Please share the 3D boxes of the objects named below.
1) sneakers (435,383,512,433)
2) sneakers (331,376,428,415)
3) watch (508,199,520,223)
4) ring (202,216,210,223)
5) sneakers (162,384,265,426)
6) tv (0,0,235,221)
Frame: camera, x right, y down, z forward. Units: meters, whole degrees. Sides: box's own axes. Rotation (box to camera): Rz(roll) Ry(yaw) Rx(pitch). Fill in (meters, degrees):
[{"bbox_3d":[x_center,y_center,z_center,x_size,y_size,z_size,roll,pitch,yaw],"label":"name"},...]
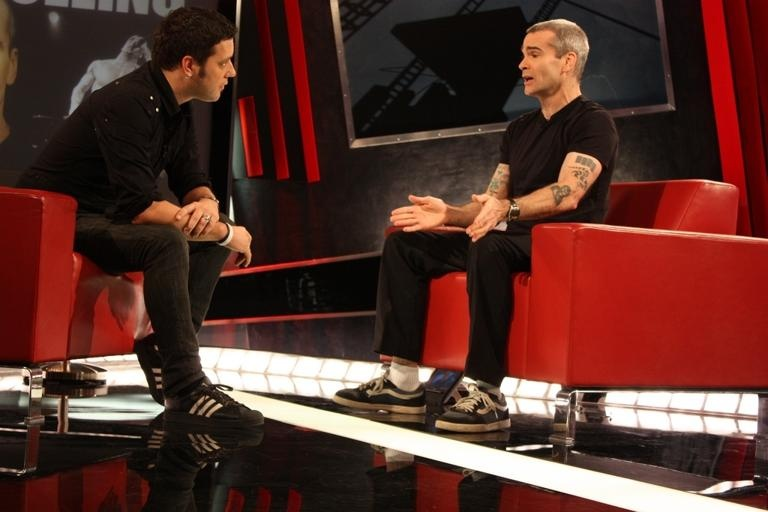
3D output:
[{"bbox_3d":[0.354,0.588,2.658,0.281,0.134,0.148,4,-7,-34],"label":"sneakers"},{"bbox_3d":[-0.012,0.595,2.958,0.389,0.149,0.146,6,-5,8],"label":"sneakers"},{"bbox_3d":[0.508,-0.175,2.660,0.048,0.073,0.070,3,-1,2],"label":"watch"},{"bbox_3d":[-0.671,-0.143,2.591,0.019,0.027,0.010,17,5,-1],"label":"ring"},{"bbox_3d":[-0.604,0.532,2.529,0.383,0.145,0.148,5,3,-6],"label":"sneakers"},{"bbox_3d":[-0.925,-0.591,2.967,0.977,0.967,0.813,7,10,-12],"label":"tv"}]
